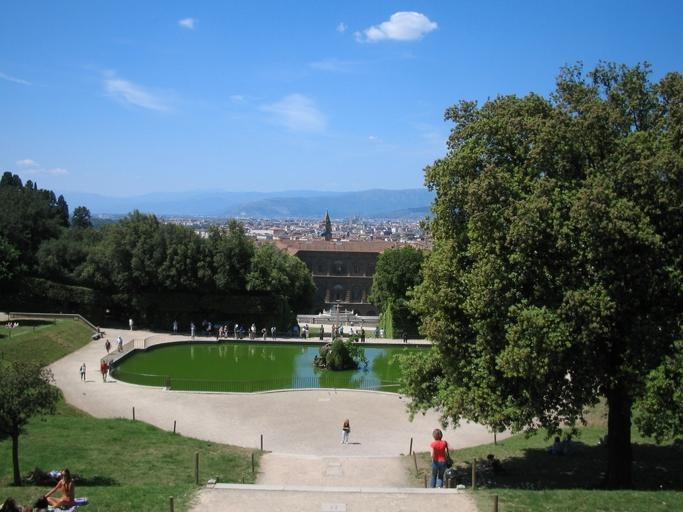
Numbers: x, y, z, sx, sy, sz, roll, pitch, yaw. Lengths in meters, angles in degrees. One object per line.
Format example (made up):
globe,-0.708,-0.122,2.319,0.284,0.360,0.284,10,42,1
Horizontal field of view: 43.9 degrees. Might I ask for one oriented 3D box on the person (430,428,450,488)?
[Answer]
person,3.403,6.853,28.730,0.812,2.058,0.593,-2,14,-9
